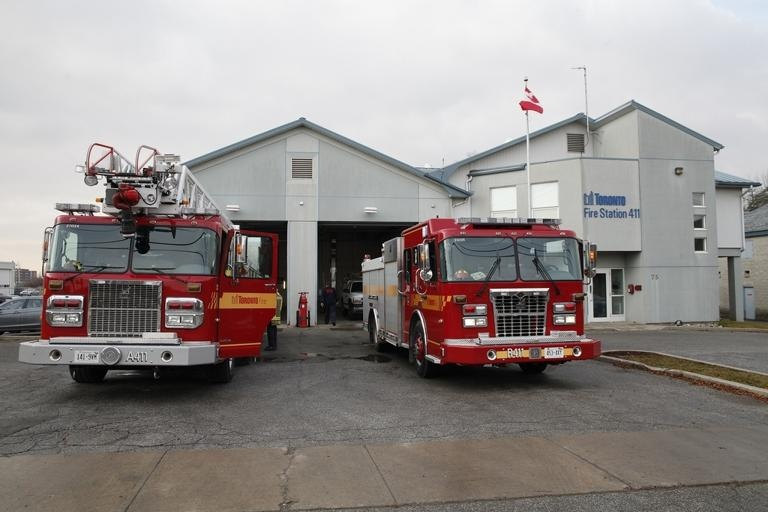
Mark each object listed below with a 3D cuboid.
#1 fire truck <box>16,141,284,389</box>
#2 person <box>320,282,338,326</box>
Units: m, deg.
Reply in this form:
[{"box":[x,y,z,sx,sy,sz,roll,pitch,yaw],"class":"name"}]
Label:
[{"box":[-4.540,0.020,11.582,3.894,4.240,2.251,0,4,0],"class":"fire truck"},{"box":[-2.373,2.203,25.722,0.567,1.734,1.327,0,4,-8],"class":"person"}]
